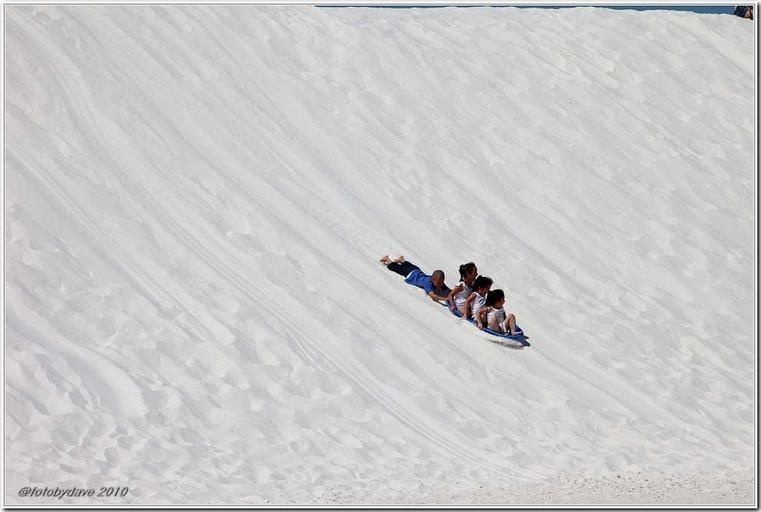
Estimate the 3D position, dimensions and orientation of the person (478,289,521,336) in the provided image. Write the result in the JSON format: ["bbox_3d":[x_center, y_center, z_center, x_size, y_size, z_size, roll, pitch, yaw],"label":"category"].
[{"bbox_3d":[2.009,0.969,26.557,0.758,0.878,0.682,10,13,32],"label":"person"}]

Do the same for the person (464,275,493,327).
[{"bbox_3d":[1.798,0.758,26.775,0.641,0.789,0.546,8,-14,-16],"label":"person"}]

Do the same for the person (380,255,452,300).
[{"bbox_3d":[0.670,0.355,27.493,1.375,0.488,0.551,38,25,16],"label":"person"}]

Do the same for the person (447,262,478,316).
[{"bbox_3d":[1.551,0.575,26.959,0.714,0.896,0.609,1,6,-16],"label":"person"}]
